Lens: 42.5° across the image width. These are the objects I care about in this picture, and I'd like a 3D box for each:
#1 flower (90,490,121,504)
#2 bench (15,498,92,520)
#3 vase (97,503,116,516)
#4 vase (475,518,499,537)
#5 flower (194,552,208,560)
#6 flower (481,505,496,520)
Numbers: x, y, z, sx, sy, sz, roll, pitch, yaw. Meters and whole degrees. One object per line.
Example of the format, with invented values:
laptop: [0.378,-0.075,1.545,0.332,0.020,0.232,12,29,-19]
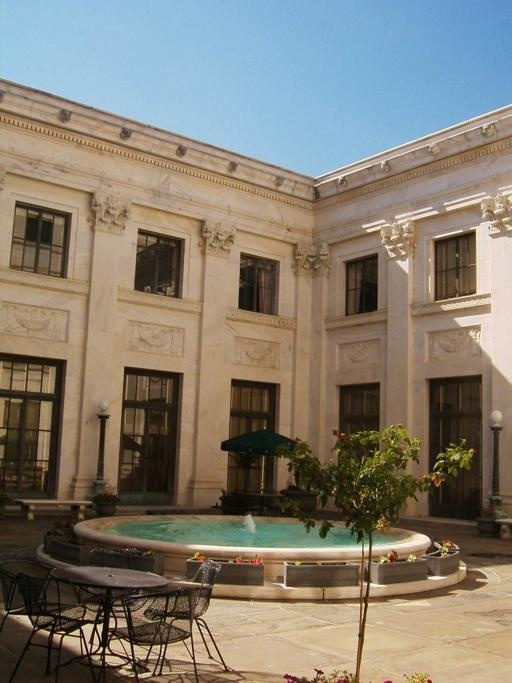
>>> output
flower: [-3.325,3.378,14.214,0.525,0.265,0.527,-6,-12,34]
bench: [-4.379,3.622,14.359,1.285,0.370,1.835,3,-10,-8]
vase: [-3.220,3.598,14.142,0.306,0.173,0.286,1,-13,-3]
vase: [4.727,3.794,13.442,0.428,0.251,0.400,1,-6,-15]
flower: [-0.604,2.348,7.186,0.093,0.035,0.122,1,-5,7]
flower: [4.815,3.514,13.585,0.288,0.449,0.271,3,-8,6]
